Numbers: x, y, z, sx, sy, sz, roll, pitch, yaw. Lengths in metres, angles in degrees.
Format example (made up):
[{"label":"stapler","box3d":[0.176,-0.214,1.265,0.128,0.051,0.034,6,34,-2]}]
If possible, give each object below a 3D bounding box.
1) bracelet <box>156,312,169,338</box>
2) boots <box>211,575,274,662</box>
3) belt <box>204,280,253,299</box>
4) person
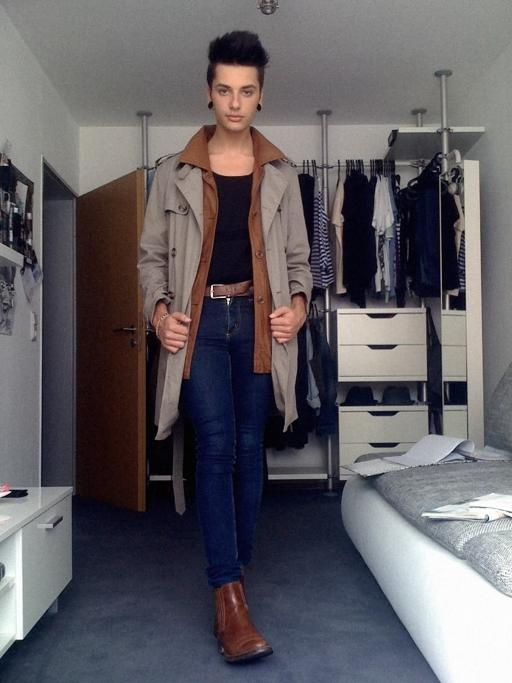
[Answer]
[{"label":"bracelet","box3d":[-0.216,-0.038,1.303,0.016,0.054,0.036,7,4,12]},{"label":"boots","box3d":[-0.038,0.568,1.185,0.069,0.144,0.174,4,-18,-28]},{"label":"belt","box3d":[-0.062,-0.119,1.333,0.109,0.043,0.016,0,-5,-9]},{"label":"person","box3d":[-0.082,0.050,1.350,0.421,1.259,0.346,-1,-5,7]}]
